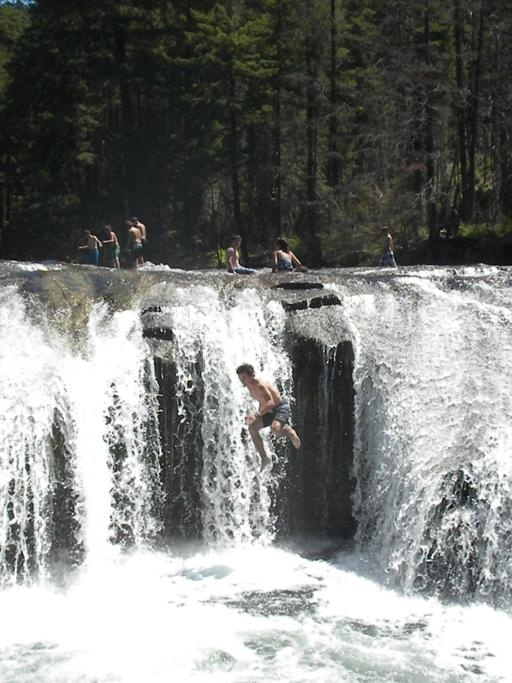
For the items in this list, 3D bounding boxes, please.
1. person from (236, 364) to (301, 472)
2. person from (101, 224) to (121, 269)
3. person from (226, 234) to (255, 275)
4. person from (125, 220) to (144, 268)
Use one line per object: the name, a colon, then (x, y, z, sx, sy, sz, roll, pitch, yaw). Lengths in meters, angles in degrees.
person: (0.138, 1.128, 16.414, 0.727, 1.898, 0.743, -8, -14, -30)
person: (-3.450, -2.192, 26.149, 0.353, 1.191, 0.434, -6, 5, -10)
person: (-0.349, -1.672, 21.456, 0.453, 0.763, 1.806, -5, 13, -1)
person: (-2.826, -2.221, 25.809, 0.380, 1.221, 1.950, -5, 12, -5)
